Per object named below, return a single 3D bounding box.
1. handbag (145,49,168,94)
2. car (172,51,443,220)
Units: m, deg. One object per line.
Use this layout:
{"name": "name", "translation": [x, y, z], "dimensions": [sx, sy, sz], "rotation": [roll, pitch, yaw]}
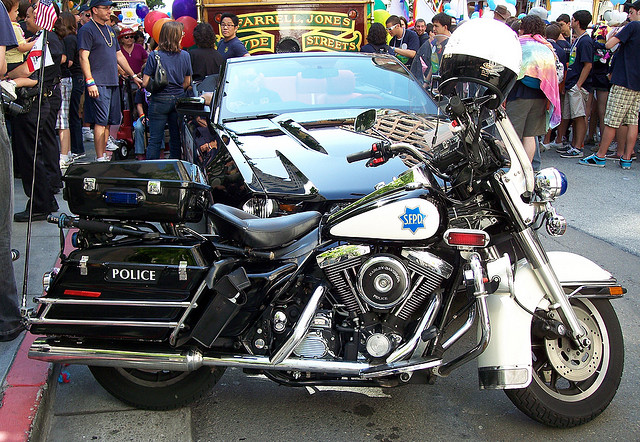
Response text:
{"name": "handbag", "translation": [-2.780, -2.590, 8.636], "dimensions": [0.292, 0.674, 0.655], "rotation": [-6, 23, -17]}
{"name": "car", "translation": [-0.301, -1.007, 5.309], "dimensions": [1.768, 1.000, 2.754], "rotation": [-4, 19, -7]}
